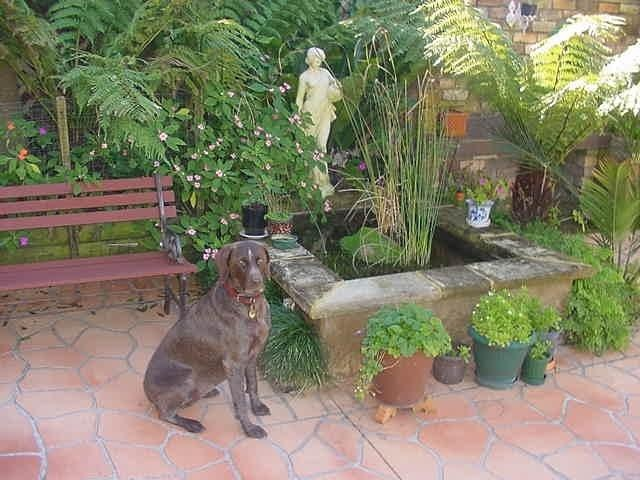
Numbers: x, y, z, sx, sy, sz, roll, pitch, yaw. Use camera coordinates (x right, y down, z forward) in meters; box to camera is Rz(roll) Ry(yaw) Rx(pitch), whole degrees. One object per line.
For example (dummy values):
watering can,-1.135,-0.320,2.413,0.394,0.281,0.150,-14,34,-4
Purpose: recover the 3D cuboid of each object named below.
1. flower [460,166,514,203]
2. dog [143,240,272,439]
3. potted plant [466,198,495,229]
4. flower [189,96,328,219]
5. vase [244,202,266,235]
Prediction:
flower,1.799,-0.591,5.552,0.294,0.249,0.344,20,26,29
dog,-0.751,0.622,3.600,0.841,1.326,0.518,6,15,9
potted plant,1.570,-0.268,5.168,0.269,0.258,0.272,5,14,19
flower,-0.664,-0.863,5.513,1.218,1.313,1.136,-4,21,-17
vase,-0.641,-0.219,5.115,0.258,0.311,0.270,0,15,-10
